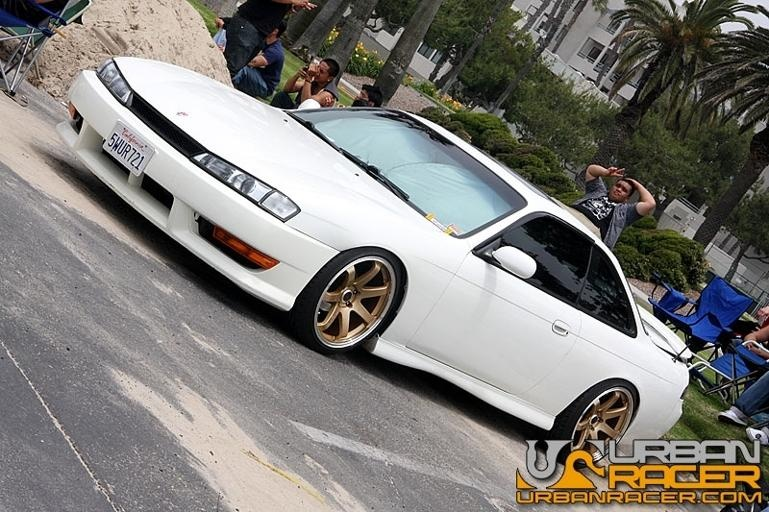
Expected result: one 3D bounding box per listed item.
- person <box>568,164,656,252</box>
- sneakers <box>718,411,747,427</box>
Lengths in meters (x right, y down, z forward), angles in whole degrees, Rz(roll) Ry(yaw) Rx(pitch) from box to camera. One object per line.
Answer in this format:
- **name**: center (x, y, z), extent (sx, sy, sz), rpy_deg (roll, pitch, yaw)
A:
- **person**: center (3.437, -0.658, 8.110), extent (1.068, 1.324, 0.698), rpy_deg (26, 1, 24)
- **sneakers**: center (5.230, 2.406, 7.937), extent (0.460, 0.215, 0.193), rpy_deg (19, -5, -42)
